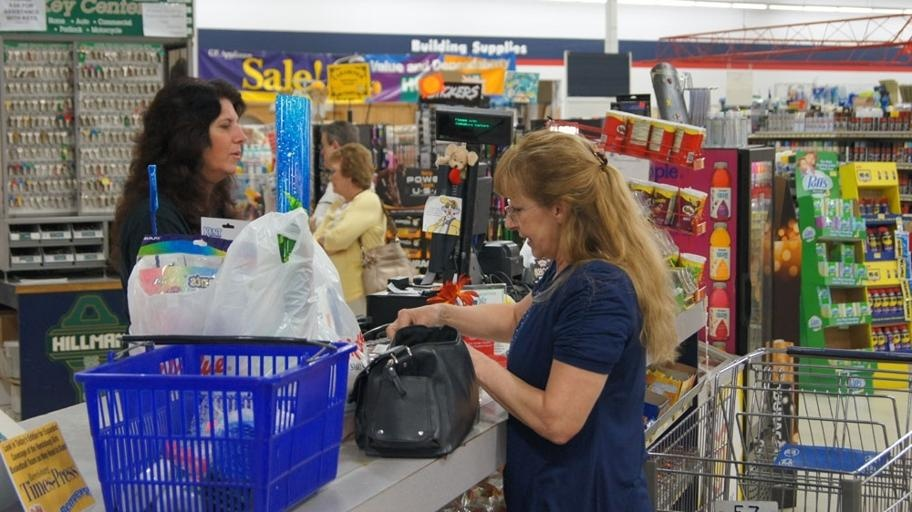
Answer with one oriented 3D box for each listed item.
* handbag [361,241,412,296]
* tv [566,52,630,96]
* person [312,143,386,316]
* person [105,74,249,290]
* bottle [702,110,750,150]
[{"bbox_3d":[-0.630,0.121,7.424,0.382,0.348,0.203,-25,1,-21],"label":"handbag"},{"bbox_3d":[2.357,-3.001,14.196,1.136,0.775,0.109,-2,6,-5],"label":"tv"},{"bbox_3d":[-0.980,-0.271,7.885,0.645,1.544,0.765,1,7,-9],"label":"person"},{"bbox_3d":[-1.790,-0.498,5.559,0.862,1.340,0.719,-1,7,-26],"label":"person"},{"bbox_3d":[2.431,-1.143,7.750,0.393,0.486,0.391,-3,9,-15],"label":"bottle"}]
